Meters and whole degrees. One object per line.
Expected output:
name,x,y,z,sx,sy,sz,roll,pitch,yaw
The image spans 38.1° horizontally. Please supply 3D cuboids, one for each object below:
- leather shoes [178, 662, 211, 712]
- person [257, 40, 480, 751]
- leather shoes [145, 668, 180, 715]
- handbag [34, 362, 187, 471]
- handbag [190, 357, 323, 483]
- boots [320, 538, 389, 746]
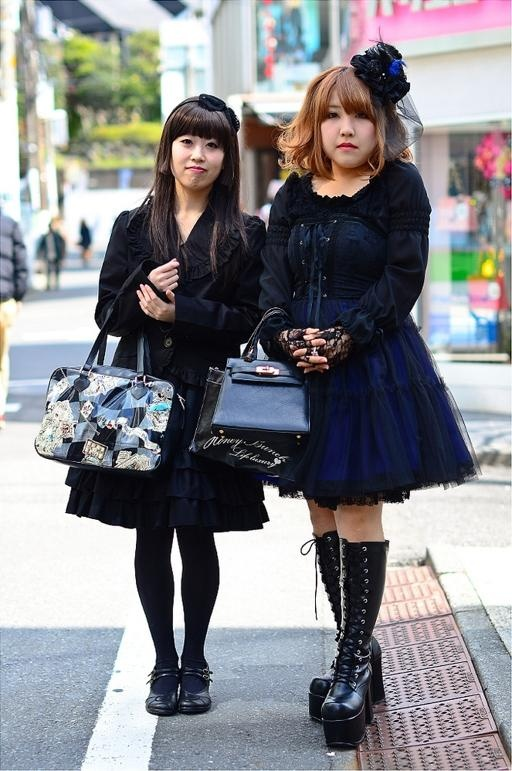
leather shoes,-0.181,0.901,2.201,0.101,0.118,0.102,-2,1,-10
person,0.292,0.000,2.021,0.576,1.369,0.444,-2,1,15
leather shoes,-0.276,0.913,2.244,0.093,0.106,0.287,6,-7,-2
handbag,-0.445,0.067,2.111,0.401,0.282,0.151,13,20,-35
handbag,0.017,0.057,1.938,0.293,0.152,0.283,2,50,-6
boots,0.251,0.673,1.943,0.119,0.390,0.200,-1,1,36
